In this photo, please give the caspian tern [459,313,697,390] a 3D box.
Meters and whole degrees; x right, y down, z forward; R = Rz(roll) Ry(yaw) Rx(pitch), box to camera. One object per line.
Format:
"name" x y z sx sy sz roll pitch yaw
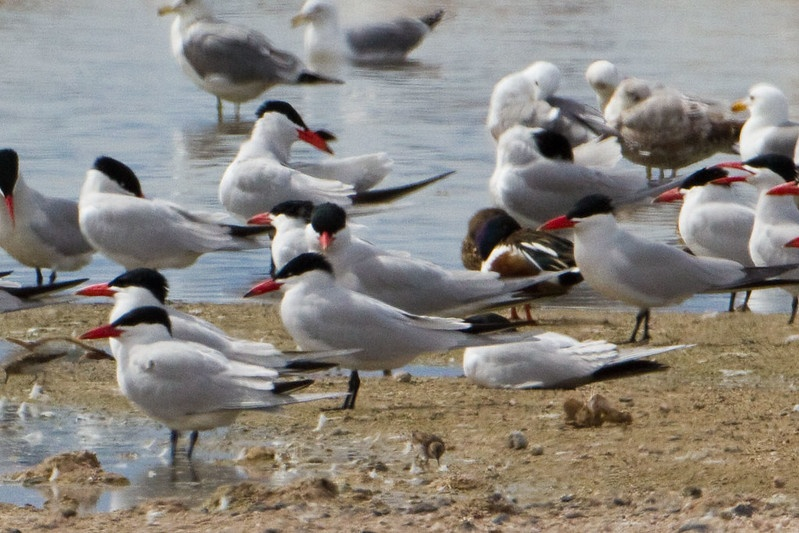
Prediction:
"caspian tern" 1.774 0.898 16.747 2.079 0.595 0.805 -1 -8 13
